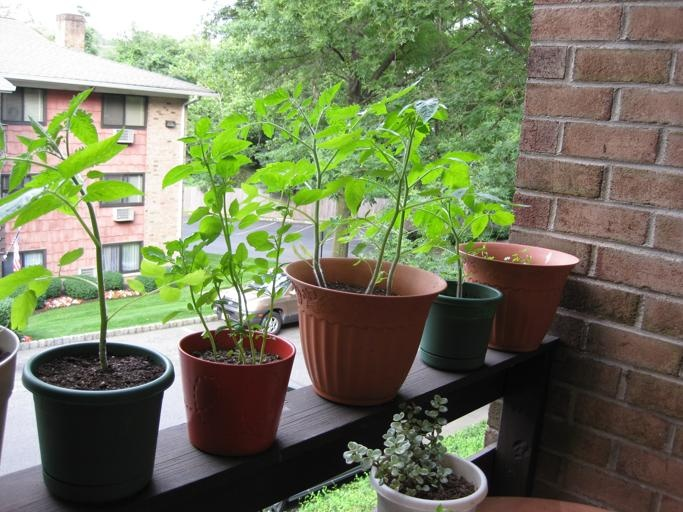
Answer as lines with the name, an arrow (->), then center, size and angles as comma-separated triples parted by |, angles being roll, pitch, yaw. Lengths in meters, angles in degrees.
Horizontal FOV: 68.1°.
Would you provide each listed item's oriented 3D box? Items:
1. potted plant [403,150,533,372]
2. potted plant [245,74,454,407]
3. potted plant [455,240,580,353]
potted plant -> 0.234, 0.022, 0.987 | 0.186, 0.395, 0.177 | -1, 8, -15
potted plant -> 0.002, -0.002, 0.863 | 0.377, 0.501, 0.290 | 2, 5, -21
potted plant -> 0.372, 0.084, 1.169 | 0.248, 0.190, 0.248 | -1, 14, -29
